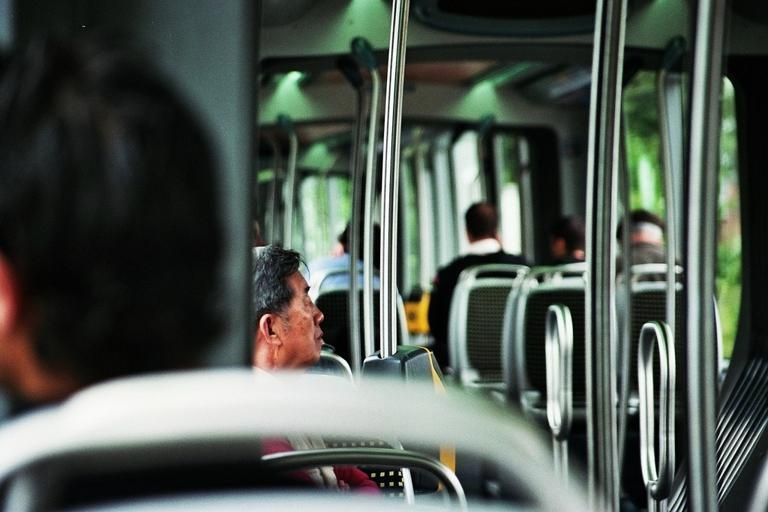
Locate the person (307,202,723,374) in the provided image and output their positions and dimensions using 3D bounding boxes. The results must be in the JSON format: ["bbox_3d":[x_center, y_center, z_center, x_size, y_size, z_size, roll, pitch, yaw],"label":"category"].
[{"bbox_3d":[0.562,0.032,5.241,0.991,0.818,0.778,-1,1,1],"label":"person"}]
